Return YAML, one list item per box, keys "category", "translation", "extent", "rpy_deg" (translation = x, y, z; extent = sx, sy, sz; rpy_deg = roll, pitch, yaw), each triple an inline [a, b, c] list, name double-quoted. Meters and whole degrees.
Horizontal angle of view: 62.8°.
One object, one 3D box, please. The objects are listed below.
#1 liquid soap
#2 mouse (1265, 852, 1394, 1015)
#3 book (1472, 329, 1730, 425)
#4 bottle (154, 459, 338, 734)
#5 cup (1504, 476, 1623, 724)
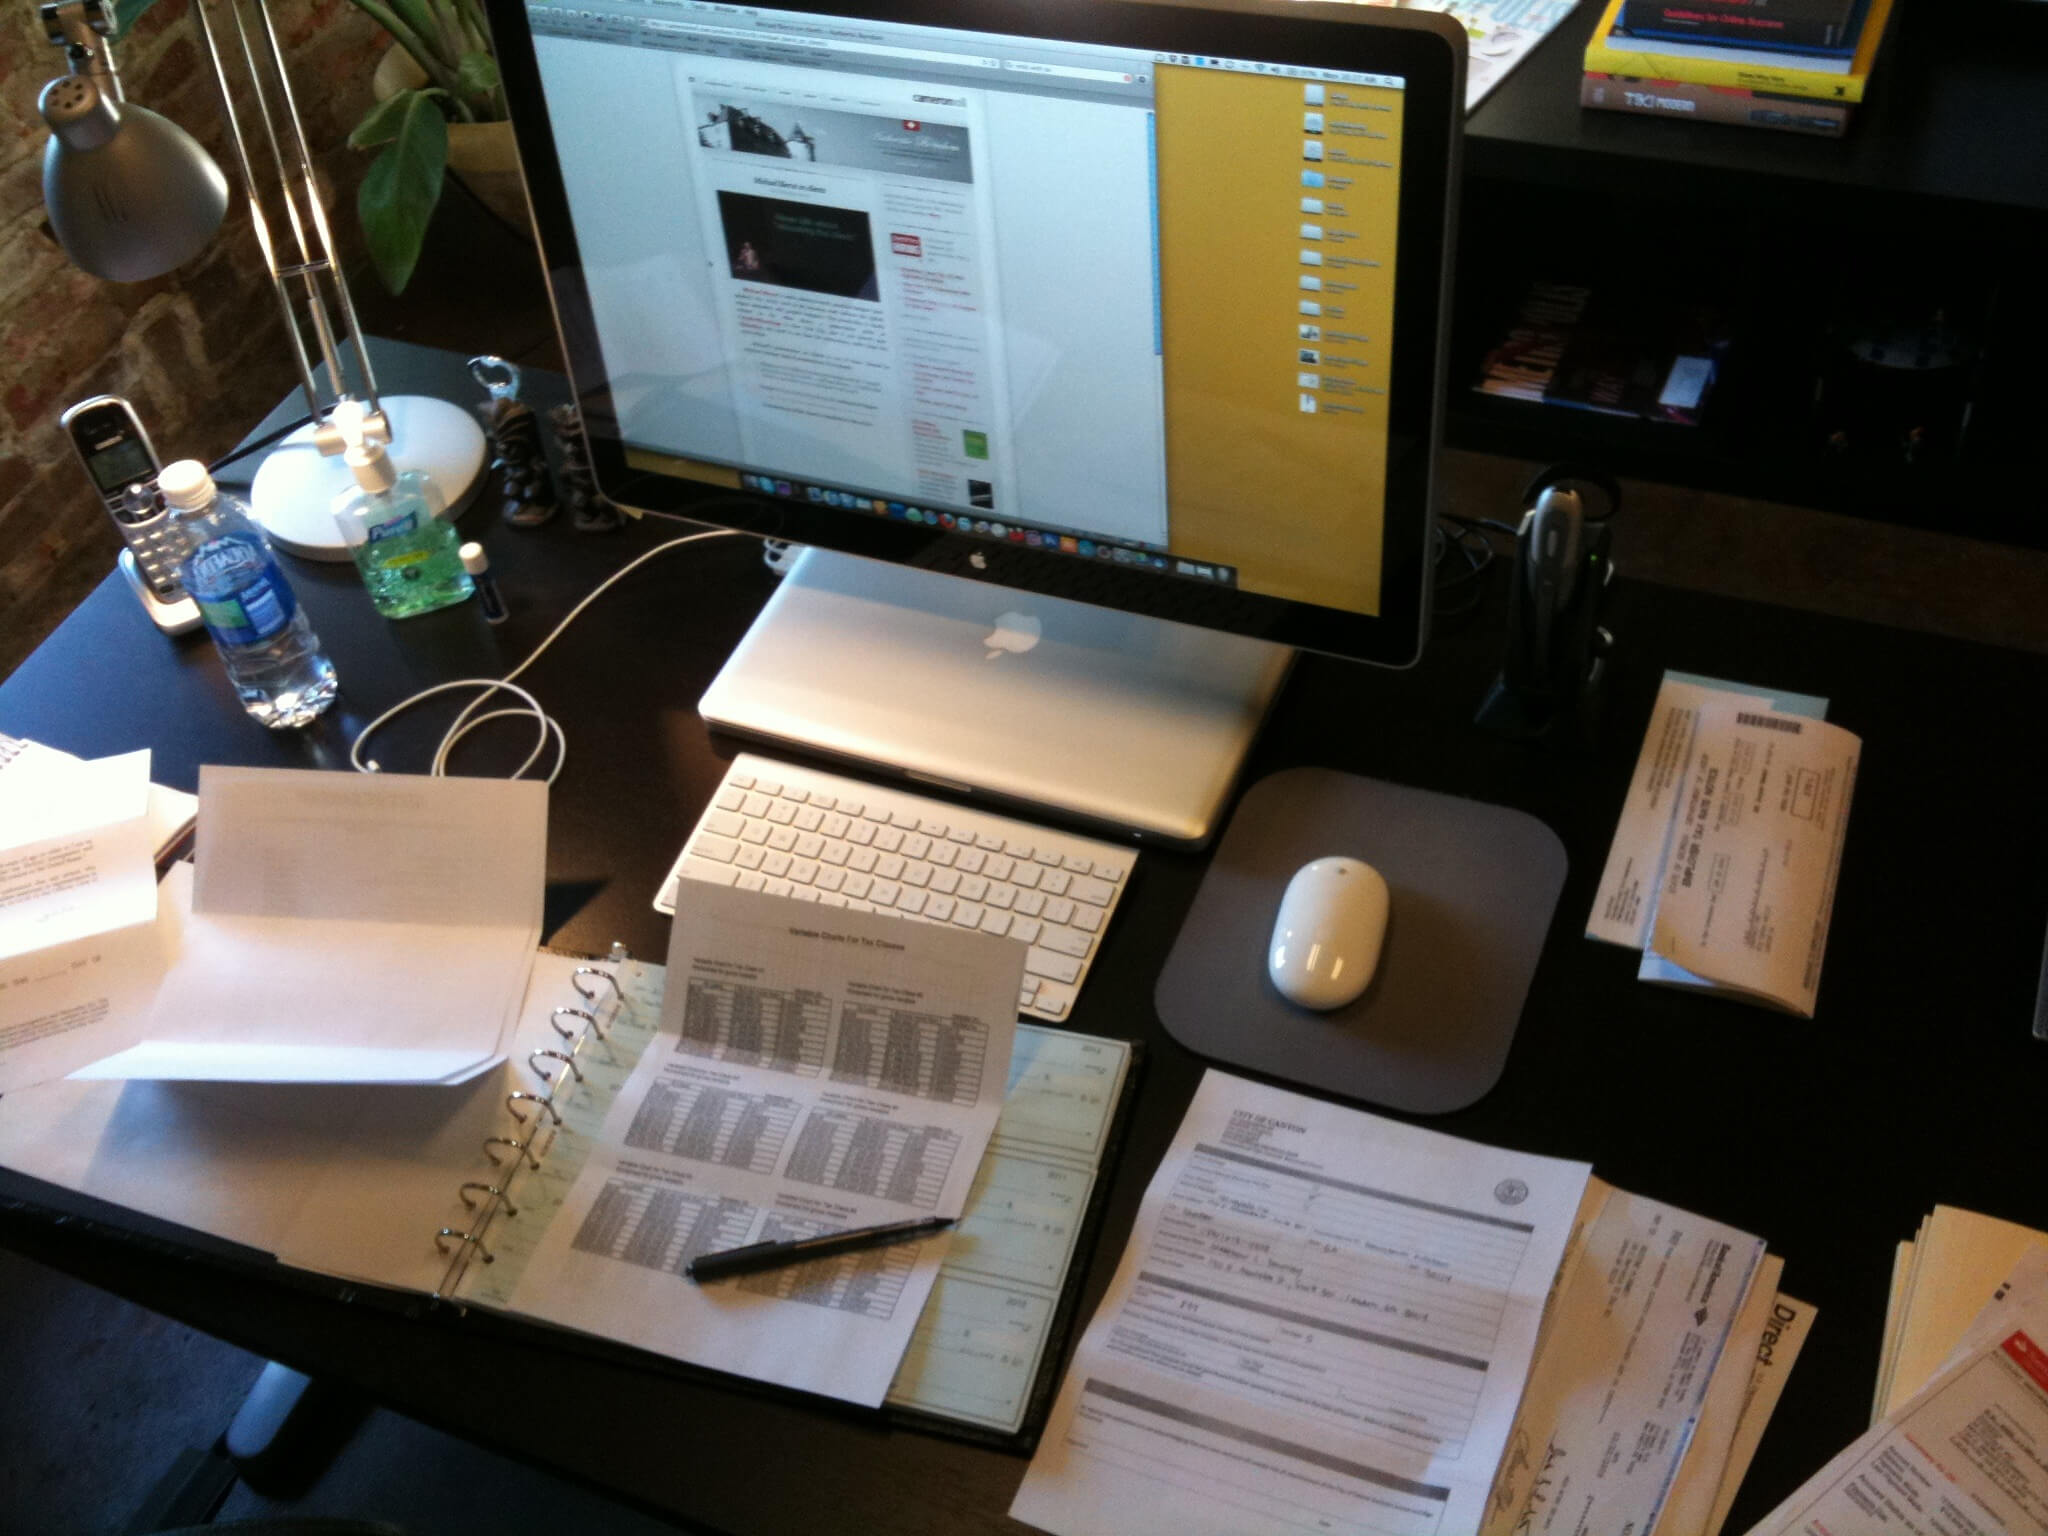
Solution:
- category: "liquid soap"
  translation: [-0.570, -0.224, 1.529]
  extent: [0.087, 0.158, 0.056]
  rpy_deg: [-18, 37, -12]
- category: "mouse"
  translation: [0.224, 0.117, 1.249]
  extent: [0.077, 0.040, 0.132]
  rpy_deg: [13, 54, 21]
- category: "book"
  translation: [0.860, -0.569, 2.450]
  extent: [0.200, 0.048, 0.195]
  rpy_deg: [14, 49, 17]
- category: "bottle"
  translation: [-0.672, -0.149, 1.444]
  extent: [0.079, 0.265, 0.085]
  rpy_deg: [1, 53, -1]
- category: "cup"
  translation: [0.433, -0.128, 1.353]
  extent: [0.099, 0.178, 0.143]
  rpy_deg: [13, 53, 20]
